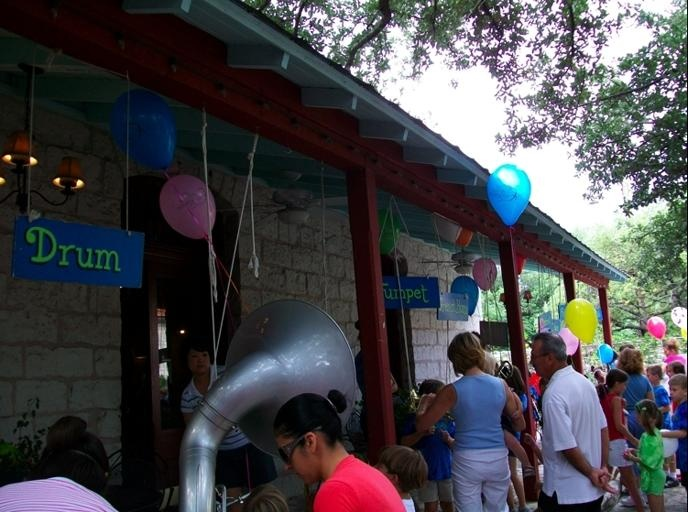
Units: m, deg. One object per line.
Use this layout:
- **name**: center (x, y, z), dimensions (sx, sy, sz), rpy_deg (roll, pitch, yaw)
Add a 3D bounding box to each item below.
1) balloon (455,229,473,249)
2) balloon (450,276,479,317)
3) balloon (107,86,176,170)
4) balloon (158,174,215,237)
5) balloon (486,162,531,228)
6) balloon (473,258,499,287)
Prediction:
- **balloon**: center (1.607, -0.257, 6.841), dimensions (0.261, 0.087, 0.240), rpy_deg (-23, -13, 2)
- **balloon**: center (1.693, 0.533, 7.329), dimensions (0.341, 0.631, 0.639), rpy_deg (-16, -20, 40)
- **balloon**: center (-1.251, -0.805, 3.237), dimensions (0.345, 0.528, 0.334), rpy_deg (4, -1, -18)
- **balloon**: center (-1.130, -0.368, 3.737), dimensions (0.352, 0.411, 0.232), rpy_deg (5, -17, -24)
- **balloon**: center (1.615, -0.584, 5.104), dimensions (0.391, 0.691, 0.395), rpy_deg (-4, 6, -35)
- **balloon**: center (1.989, 0.237, 7.376), dimensions (0.296, 0.538, 0.438), rpy_deg (-12, -18, 31)
